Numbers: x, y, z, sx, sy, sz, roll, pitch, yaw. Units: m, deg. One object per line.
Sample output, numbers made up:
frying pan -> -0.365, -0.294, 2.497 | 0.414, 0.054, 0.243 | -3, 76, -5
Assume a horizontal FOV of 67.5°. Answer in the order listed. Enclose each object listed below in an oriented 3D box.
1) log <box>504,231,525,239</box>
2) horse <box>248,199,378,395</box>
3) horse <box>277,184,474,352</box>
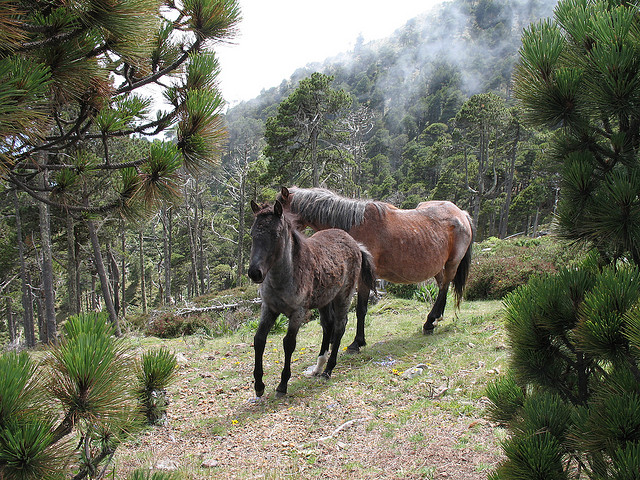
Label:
log -> 15.546, -0.375, 38.177 | 0.313, 0.162, 1.848 | -31, -9, 39
horse -> -0.273, 0.762, 6.006 | 0.505, 1.824, 2.110 | 2, -2, 35
horse -> 1.230, 0.440, 8.404 | 3.986, 2.883, 1.097 | -4, 8, -20
